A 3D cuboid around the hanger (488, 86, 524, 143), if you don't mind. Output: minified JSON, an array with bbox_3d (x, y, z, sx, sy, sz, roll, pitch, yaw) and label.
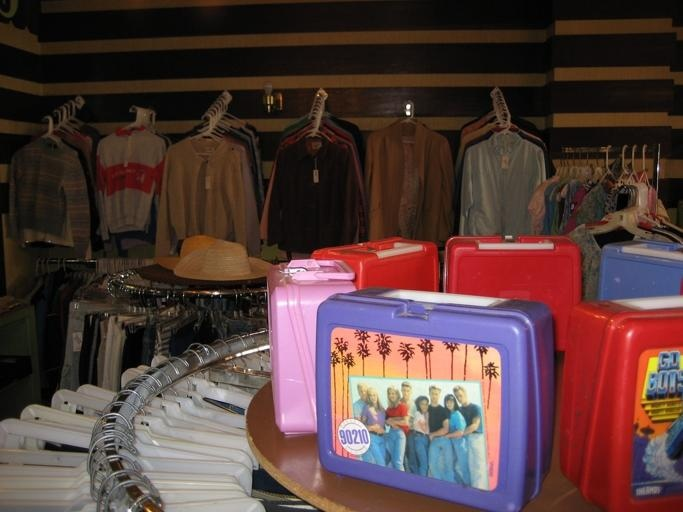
[{"bbox_3d":[0.993,-0.902,3.728,0.152,0.381,0.376,-1,-4,14],"label":"hanger"}]

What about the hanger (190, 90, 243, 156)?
[{"bbox_3d":[-0.805,-0.877,3.831,0.206,0.317,0.239,0,-4,-3],"label":"hanger"}]

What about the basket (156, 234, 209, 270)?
[{"bbox_3d":[-0.784,-0.033,3.016,0.225,0.087,0.271,-3,12,4],"label":"basket"}]

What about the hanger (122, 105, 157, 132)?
[{"bbox_3d":[-1.284,-0.881,3.934,0.107,0.161,0.224,-2,-4,27],"label":"hanger"}]

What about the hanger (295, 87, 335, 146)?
[{"bbox_3d":[-0.174,-0.817,3.681,0.104,0.405,0.141,9,-3,12],"label":"hanger"}]

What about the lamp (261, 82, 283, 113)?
[{"bbox_3d":[-0.438,-1.018,3.899,0.129,0.227,0.163,0,18,3],"label":"lamp"}]
